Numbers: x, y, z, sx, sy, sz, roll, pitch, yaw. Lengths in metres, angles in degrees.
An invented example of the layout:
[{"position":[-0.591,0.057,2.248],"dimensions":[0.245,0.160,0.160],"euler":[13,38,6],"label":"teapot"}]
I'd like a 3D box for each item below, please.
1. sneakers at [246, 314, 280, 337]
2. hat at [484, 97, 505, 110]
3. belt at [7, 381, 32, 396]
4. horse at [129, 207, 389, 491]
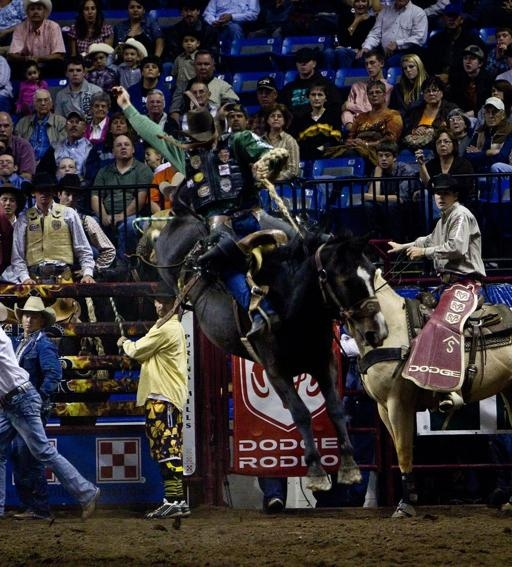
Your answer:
[{"position":[0.061,0.389,11.111],"dimensions":[0.217,0.202,0.282],"euler":[-1,5,29],"label":"sneakers"},{"position":[3.099,-2.356,15.763],"dimensions":[0.167,0.103,0.220],"euler":[10,-6,30],"label":"hat"},{"position":[-2.308,1.045,11.973],"dimensions":[0.153,0.044,0.155],"euler":[-18,0,-25],"label":"belt"},{"position":[0.172,0.615,12.202],"dimensions":[1.152,2.318,4.102],"euler":[-9,7,-24],"label":"horse"}]
